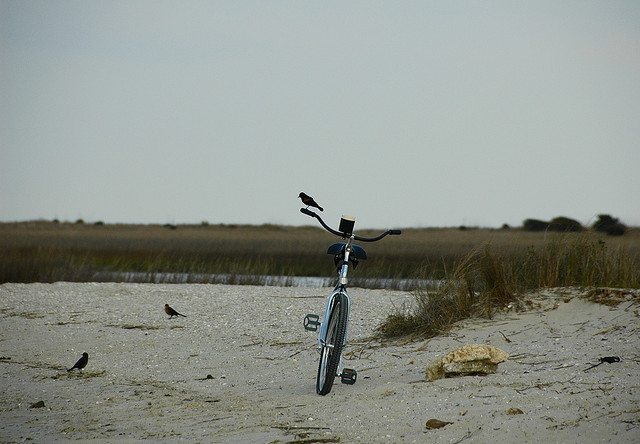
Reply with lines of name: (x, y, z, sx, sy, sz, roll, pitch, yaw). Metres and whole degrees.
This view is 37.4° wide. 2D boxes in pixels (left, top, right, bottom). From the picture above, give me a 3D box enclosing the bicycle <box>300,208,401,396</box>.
bicycle: (0.281, 1.282, 14.133, 0.839, 2.227, 1.531, 10, -32, -13)
